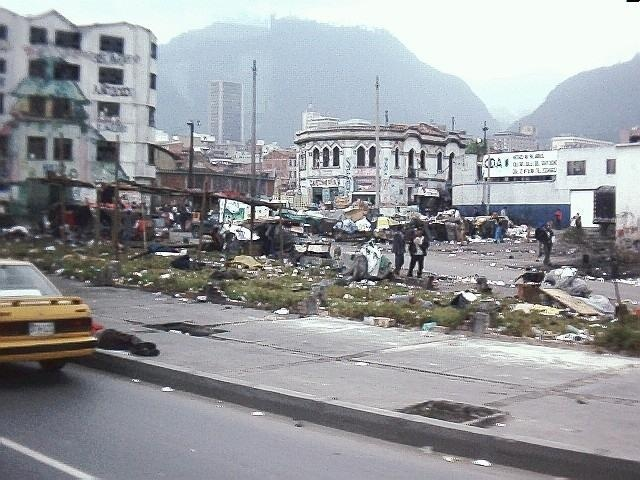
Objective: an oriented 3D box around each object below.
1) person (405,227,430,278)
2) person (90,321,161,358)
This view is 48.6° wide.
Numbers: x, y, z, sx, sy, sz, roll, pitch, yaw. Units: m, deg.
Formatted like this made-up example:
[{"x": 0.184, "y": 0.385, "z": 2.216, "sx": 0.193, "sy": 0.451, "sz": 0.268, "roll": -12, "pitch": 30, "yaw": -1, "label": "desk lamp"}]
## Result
[{"x": 3.405, "y": 0.456, "z": 24.759, "sx": 0.623, "sy": 1.716, "sz": 1.445, "roll": 3, "pitch": 2, "yaw": 8, "label": "person"}, {"x": -3.463, "y": 1.802, "z": 12.413, "sx": 1.566, "sy": 0.305, "sz": 0.466, "roll": 4, "pitch": 2, "yaw": 31, "label": "person"}]
